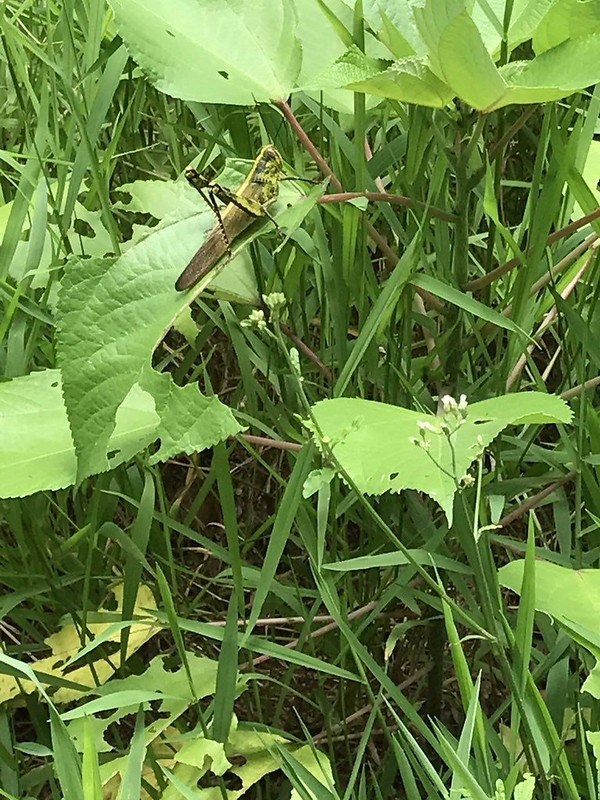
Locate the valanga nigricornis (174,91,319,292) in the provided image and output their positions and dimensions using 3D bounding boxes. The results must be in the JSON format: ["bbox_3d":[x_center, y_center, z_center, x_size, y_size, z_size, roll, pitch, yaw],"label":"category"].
[{"bbox_3d":[-0.073,-0.207,0.703,0.088,0.079,0.192,11,55,40],"label":"valanga nigricornis"}]
